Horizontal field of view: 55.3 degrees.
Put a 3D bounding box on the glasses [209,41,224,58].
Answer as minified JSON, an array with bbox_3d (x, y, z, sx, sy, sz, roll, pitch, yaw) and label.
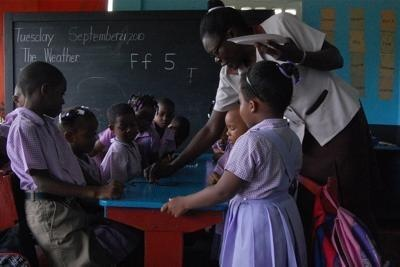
[{"bbox_3d":[0.089,-0.460,2.062,0.035,0.078,0.059,27,-4,-11],"label":"glasses"}]

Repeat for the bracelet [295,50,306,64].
[{"bbox_3d":[0.526,-0.393,1.971,0.025,0.063,0.051,19,17,27],"label":"bracelet"}]

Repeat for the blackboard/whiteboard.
[{"bbox_3d":[-0.449,-0.390,3.021,1.618,0.939,0.069,0,5,4],"label":"blackboard/whiteboard"}]
